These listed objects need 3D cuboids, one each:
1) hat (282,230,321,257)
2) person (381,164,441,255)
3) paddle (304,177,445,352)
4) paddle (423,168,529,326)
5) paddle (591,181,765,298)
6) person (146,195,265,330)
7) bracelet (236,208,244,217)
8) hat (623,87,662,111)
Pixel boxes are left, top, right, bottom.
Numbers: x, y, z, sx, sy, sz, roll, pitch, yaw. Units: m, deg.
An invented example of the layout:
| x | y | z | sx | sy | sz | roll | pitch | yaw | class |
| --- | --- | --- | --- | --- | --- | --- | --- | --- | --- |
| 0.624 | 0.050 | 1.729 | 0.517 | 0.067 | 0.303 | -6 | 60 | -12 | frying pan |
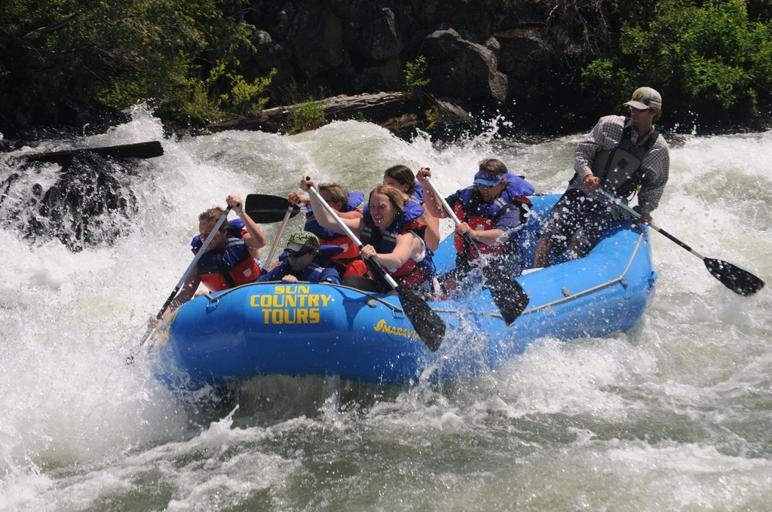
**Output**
| x | y | z | sx | sy | sz | roll | pitch | yaw | class |
| --- | --- | --- | --- | --- | --- | --- | --- | --- | --- |
| -0.931 | -0.135 | 9.177 | 0.233 | 0.340 | 0.172 | 6 | 87 | 22 | hat |
| 0.357 | -0.587 | 9.912 | 0.432 | 1.047 | 0.766 | -25 | 3 | 45 | person |
| 0.019 | 0.217 | 9.179 | 0.341 | 0.923 | 1.787 | -33 | 50 | -23 | paddle |
| 1.073 | -0.053 | 9.723 | 0.496 | 0.121 | 2.471 | -38 | 54 | 6 | paddle |
| 3.885 | -0.164 | 10.950 | 1.760 | 0.333 | 0.090 | 35 | 23 | 12 | paddle |
| -1.873 | 0.084 | 9.513 | 1.126 | 1.563 | 0.785 | -28 | 82 | 11 | person |
| -1.694 | -0.508 | 9.473 | 0.059 | 0.084 | 0.029 | -5 | 12 | -20 | bracelet |
| 3.172 | -1.946 | 10.129 | 0.432 | 0.264 | 0.310 | 4 | 13 | -4 | hat |
